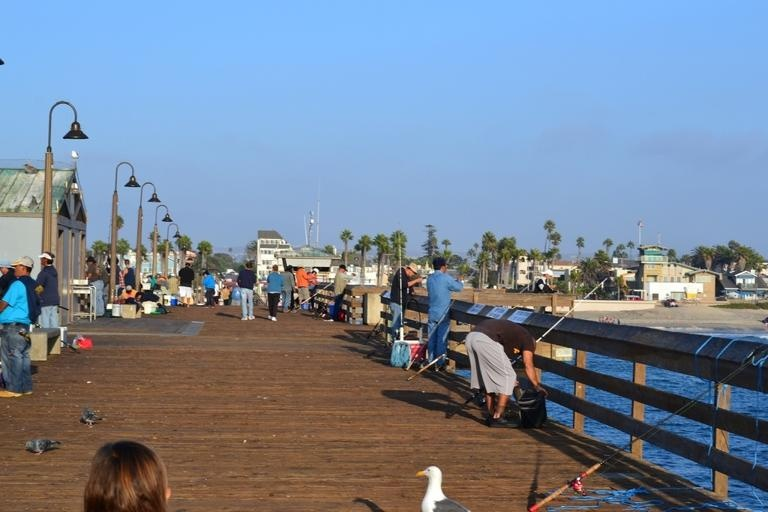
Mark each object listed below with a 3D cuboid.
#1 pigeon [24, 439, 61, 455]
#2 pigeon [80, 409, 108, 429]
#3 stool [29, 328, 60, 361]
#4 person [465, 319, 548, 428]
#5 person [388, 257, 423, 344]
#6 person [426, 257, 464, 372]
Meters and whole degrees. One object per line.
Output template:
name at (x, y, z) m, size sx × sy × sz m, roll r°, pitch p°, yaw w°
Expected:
pigeon at (-4.816, 2.693, 17.766) m, size 0.490 × 0.221 × 0.302 m, roll 2°, pitch -1°, yaw -28°
pigeon at (-4.409, 2.437, 18.860) m, size 0.245 × 0.213 × 0.326 m, roll 0°, pitch -8°, yaw 9°
stool at (-6.418, 1.633, 23.737) m, size 0.384 × 0.390 × 1.093 m, roll 1°, pitch 3°, yaw 0°
person at (1.831, 1.777, 19.151) m, size 1.211 × 1.530 × 0.753 m, roll 1°, pitch 0°, yaw 18°
person at (0.426, 0.900, 25.819) m, size 0.523 × 1.732 × 0.513 m, roll 2°, pitch -2°, yaw -15°
person at (1.152, 1.053, 23.078) m, size 0.655 × 2.016 × 0.741 m, roll 2°, pitch -1°, yaw -31°
